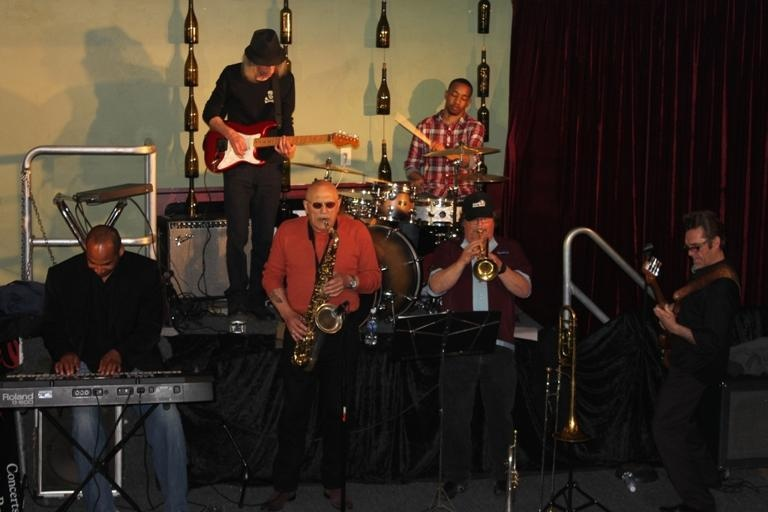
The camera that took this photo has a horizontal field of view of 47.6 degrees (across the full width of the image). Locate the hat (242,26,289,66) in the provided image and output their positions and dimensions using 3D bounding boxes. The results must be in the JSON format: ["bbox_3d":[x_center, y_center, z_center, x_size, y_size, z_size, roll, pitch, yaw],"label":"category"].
[{"bbox_3d":[-1.214,-2.150,8.913,0.397,0.287,0.259,-1,-1,-12],"label":"hat"}]

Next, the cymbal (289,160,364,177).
[{"bbox_3d":[-0.749,-1.079,10.620,0.360,0.075,0.357,0,14,-46],"label":"cymbal"}]

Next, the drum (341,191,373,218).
[{"bbox_3d":[-0.296,-0.554,9.226,0.289,0.115,0.294,5,12,-1],"label":"drum"}]

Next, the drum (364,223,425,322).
[{"bbox_3d":[0.071,0.131,8.838,0.477,0.825,0.591,3,14,-3],"label":"drum"}]

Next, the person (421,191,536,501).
[{"bbox_3d":[0.826,0.792,7.953,0.928,2.759,0.833,0,2,-8],"label":"person"}]

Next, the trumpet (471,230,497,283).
[{"bbox_3d":[0.843,0.011,7.461,0.269,0.276,0.580,-14,10,8],"label":"trumpet"}]

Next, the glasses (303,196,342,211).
[{"bbox_3d":[-0.519,-0.457,7.433,0.276,0.113,0.160,-1,-1,-15],"label":"glasses"}]

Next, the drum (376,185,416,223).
[{"bbox_3d":[0.118,-0.567,9.422,0.383,0.366,0.392,1,-3,-1],"label":"drum"}]

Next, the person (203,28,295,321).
[{"bbox_3d":[-1.331,-0.884,9.142,0.909,2.955,1.106,0,2,-34],"label":"person"}]

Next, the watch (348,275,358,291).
[{"bbox_3d":[-0.265,0.222,7.400,0.106,0.120,0.074,-15,17,-29],"label":"watch"}]

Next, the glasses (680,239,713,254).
[{"bbox_3d":[2.753,-0.089,7.695,0.160,0.053,0.157,6,-12,-31],"label":"glasses"}]

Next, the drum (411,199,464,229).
[{"bbox_3d":[0.550,-0.470,9.291,0.345,0.183,0.349,1,1,0],"label":"drum"}]

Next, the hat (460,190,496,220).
[{"bbox_3d":[0.802,-0.430,7.545,0.267,0.221,0.181,-1,-1,6],"label":"hat"}]

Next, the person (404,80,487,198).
[{"bbox_3d":[0.724,-1.339,10.320,0.843,1.591,0.984,6,1,0],"label":"person"}]

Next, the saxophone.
[{"bbox_3d":[-0.561,0.370,7.373,0.445,0.978,0.277,-1,0,-5],"label":"saxophone"}]
